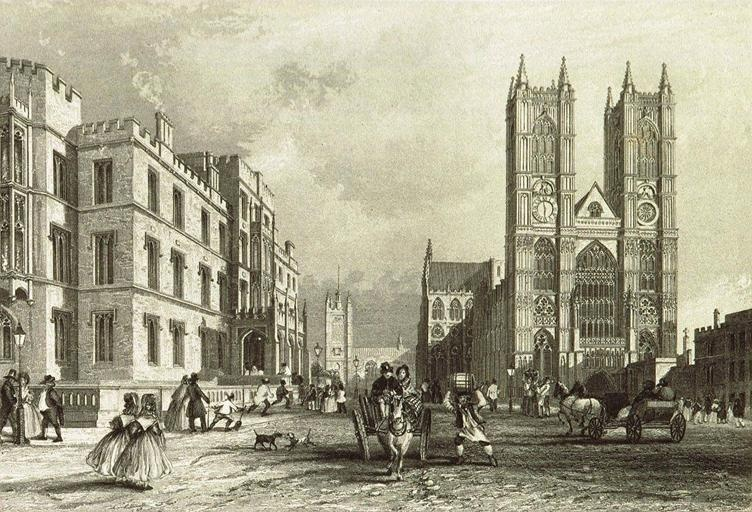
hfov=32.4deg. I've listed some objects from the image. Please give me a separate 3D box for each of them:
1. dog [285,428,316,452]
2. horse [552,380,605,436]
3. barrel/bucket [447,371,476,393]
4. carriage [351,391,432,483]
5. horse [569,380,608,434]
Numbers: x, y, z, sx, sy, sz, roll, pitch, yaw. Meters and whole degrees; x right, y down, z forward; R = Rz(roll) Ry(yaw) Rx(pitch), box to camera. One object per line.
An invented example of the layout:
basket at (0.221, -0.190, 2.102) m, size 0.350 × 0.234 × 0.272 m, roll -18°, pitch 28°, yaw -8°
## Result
dog at (-3.556, 8.671, 61.055) m, size 1.750 × 1.127 × 0.677 m, roll 6°, pitch -29°, yaw -8°
horse at (10.038, 7.446, 63.737) m, size 0.943 × 2.123 × 2.930 m, roll 16°, pitch -5°, yaw -33°
barrel/bucket at (3.830, 5.534, 57.029) m, size 1.054 × 0.890 × 0.836 m, roll -3°, pitch 14°, yaw 9°
carriage at (0.846, 7.579, 56.117) m, size 2.317 × 3.318 × 4.910 m, roll 0°, pitch -8°, yaw 3°
horse at (9.923, 7.206, 63.727) m, size 2.681 × 1.960 × 0.815 m, roll 6°, pitch 3°, yaw 41°
